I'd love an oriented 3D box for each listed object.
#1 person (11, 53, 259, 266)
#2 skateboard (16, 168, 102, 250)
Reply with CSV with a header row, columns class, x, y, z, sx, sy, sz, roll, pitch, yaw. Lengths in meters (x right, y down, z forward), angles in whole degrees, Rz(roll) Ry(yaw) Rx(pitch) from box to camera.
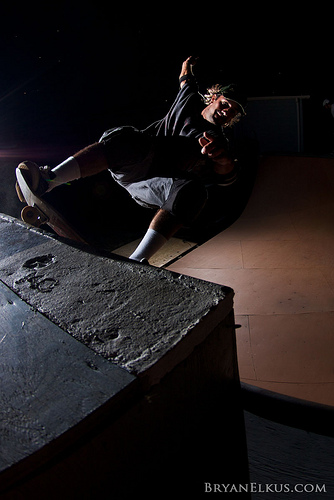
class,x,y,z,sx,sy,sz,roll,pitch,yaw
person,0.043,-0.695,2.372,1.793,0.963,0.669,-52,0,-29
skateboard,-0.785,-0.257,2.342,0.191,0.619,0.333,-13,25,7
